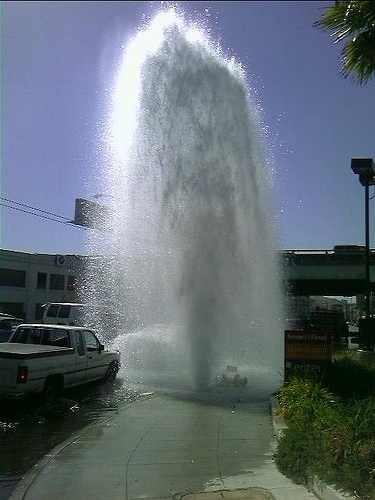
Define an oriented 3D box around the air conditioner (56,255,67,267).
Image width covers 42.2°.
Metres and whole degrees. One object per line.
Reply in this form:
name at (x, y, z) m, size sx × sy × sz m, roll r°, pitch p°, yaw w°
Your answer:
air conditioner at (-14.854, 1.265, 57.012) m, size 0.458 × 1.614 × 1.819 m, roll 1°, pitch 0°, yaw 13°
